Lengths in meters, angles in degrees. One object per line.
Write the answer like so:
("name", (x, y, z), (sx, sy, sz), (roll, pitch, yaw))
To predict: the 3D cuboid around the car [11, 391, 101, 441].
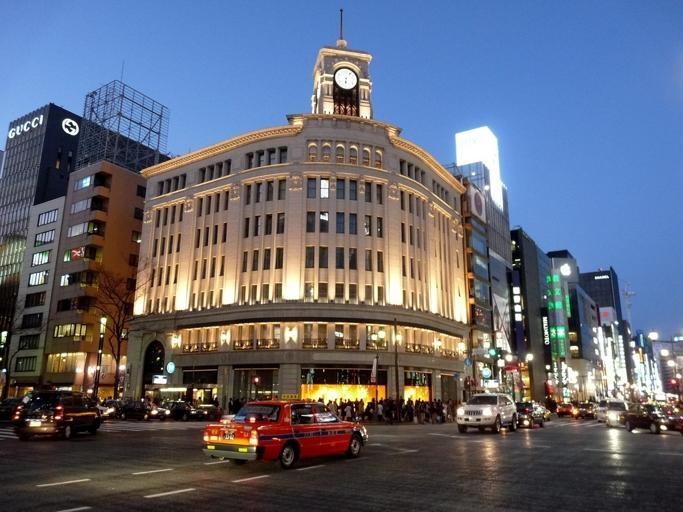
("car", (-12.755, 6.914, 22.756), (2.007, 1.683, 3.804), (-3, -12, 11))
